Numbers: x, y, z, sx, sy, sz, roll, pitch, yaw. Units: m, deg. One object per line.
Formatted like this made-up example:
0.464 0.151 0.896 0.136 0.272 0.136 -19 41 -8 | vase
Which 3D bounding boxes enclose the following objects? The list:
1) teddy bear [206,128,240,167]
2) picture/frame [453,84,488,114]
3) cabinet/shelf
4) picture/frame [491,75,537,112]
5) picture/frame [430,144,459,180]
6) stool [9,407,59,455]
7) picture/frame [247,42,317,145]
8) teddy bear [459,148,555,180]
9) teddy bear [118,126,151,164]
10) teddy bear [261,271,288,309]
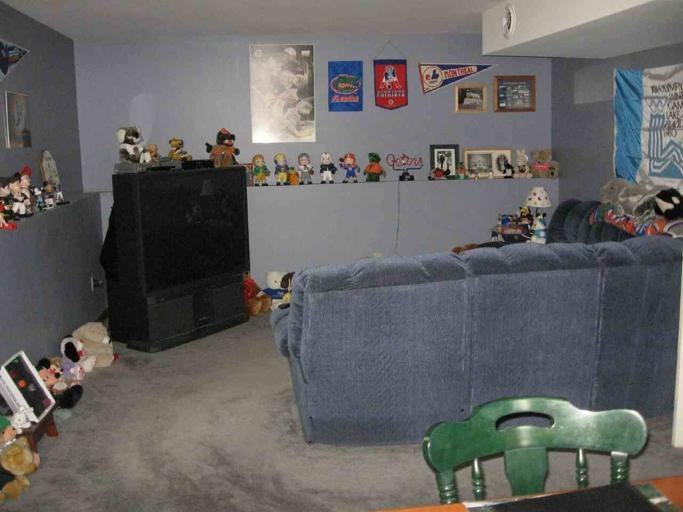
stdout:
-1.225 -1.118 5.759 0.308 0.366 0.318 -7 15 -22 | teddy bear
1.358 -1.764 6.239 0.331 0.284 0.028 -1 6 -8 | picture/frame
-1.179 0.480 5.009 0.917 0.619 0.500 -14 -22 1 | cabinet/shelf
1.838 -1.841 6.296 0.423 0.347 0.030 0 2 -10 | picture/frame
1.081 -1.058 6.278 0.426 0.507 0.032 0 1 -8 | picture/frame
-1.745 1.017 3.246 0.166 0.183 0.196 -6 14 -2 | stool
-0.677 -1.785 5.984 1.064 1.380 0.060 -1 6 -9 | picture/frame
1.802 -1.054 6.510 1.124 0.334 0.336 0 3 1 | teddy bear
-1.800 -0.944 4.871 0.211 0.355 0.320 -1 12 -12 | teddy bear
-0.660 0.349 5.759 0.363 0.378 0.227 -4 7 21 | teddy bear
